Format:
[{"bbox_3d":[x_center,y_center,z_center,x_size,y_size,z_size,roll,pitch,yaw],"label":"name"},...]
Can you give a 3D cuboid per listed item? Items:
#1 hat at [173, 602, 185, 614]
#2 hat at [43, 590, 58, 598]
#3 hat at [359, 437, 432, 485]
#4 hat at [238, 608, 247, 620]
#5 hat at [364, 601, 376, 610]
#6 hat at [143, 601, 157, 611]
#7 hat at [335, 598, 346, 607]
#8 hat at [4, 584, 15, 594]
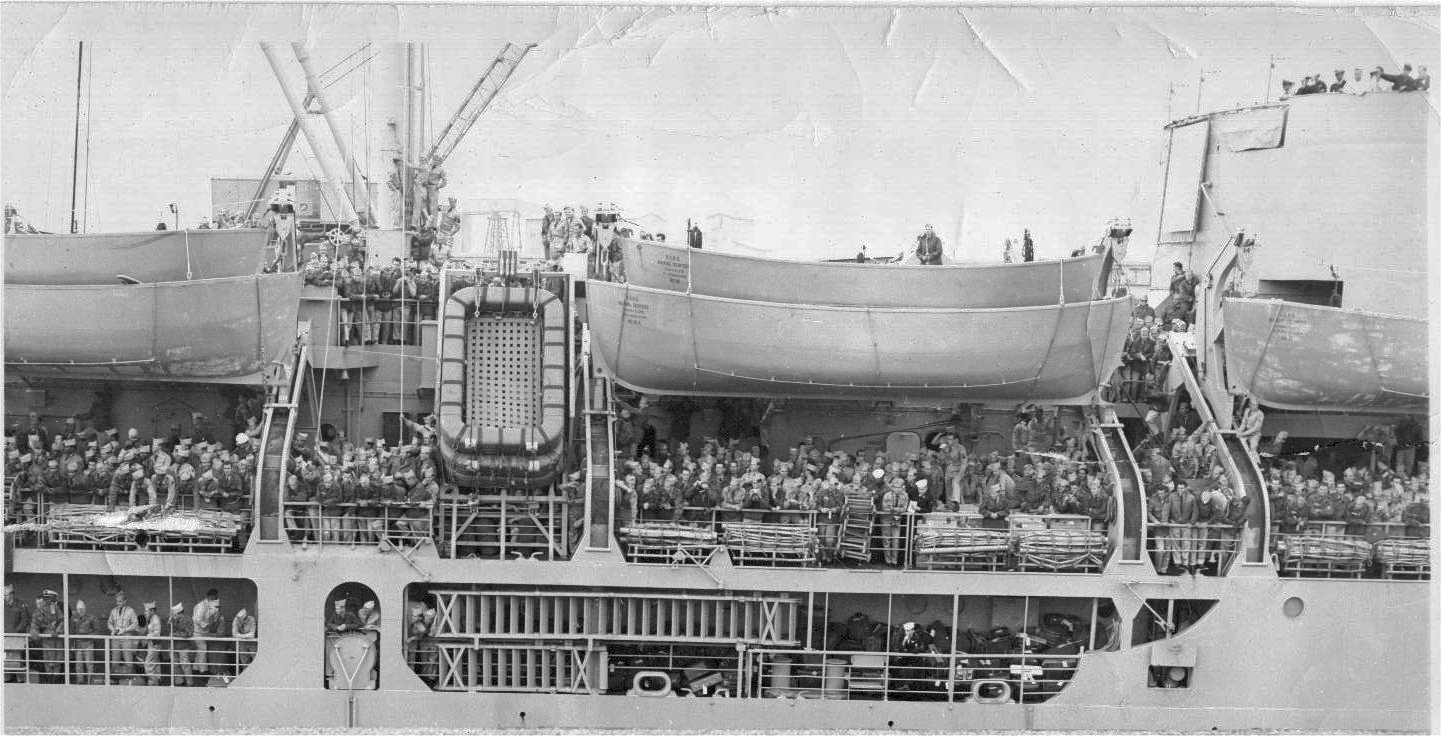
[{"bbox_3d":[-7.197,3.121,47.528,0.117,0.152,0.170,-2,-8,22],"label":"hat"},{"bbox_3d":[-8.875,2.950,47.519,0.187,0.096,0.136,2,-7,-11],"label":"hat"},{"bbox_3d":[-4.332,1.256,47.537,1.052,0.568,0.347,-1,-8,12],"label":"hat"},{"bbox_3d":[-6.321,3.216,47.452,0.122,0.135,0.090,5,30,-10],"label":"hat"},{"bbox_3d":[-4.653,3.093,47.428,0.099,0.057,0.117,6,-3,-25],"label":"hat"},{"bbox_3d":[-7.592,3.115,47.583,0.115,0.064,0.109,3,4,33],"label":"hat"},{"bbox_3d":[-5.033,3.077,47.405,0.142,0.111,0.089,5,-9,-32],"label":"hat"},{"bbox_3d":[-9.413,2.907,47.482,0.105,0.084,0.111,2,-10,-5],"label":"hat"}]
